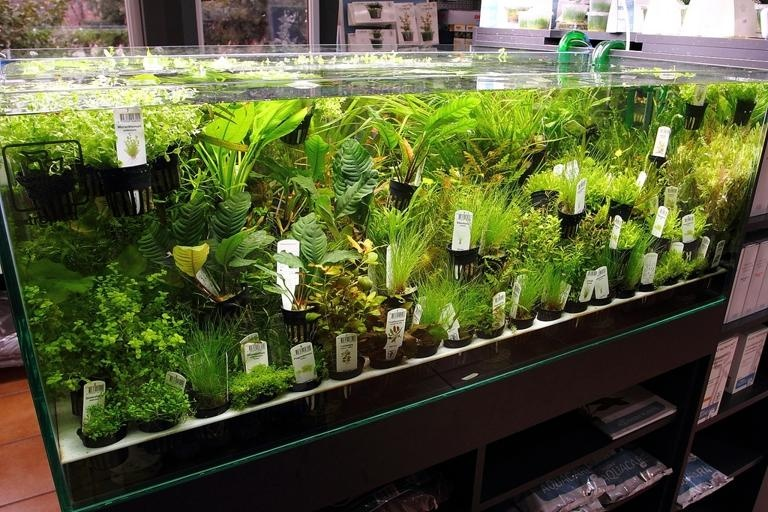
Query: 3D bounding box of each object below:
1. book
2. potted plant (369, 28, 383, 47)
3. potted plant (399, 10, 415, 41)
[{"bbox_3d":[0.928,0.574,1.937,0.274,0.031,0.296,-24,5,-10],"label":"book"},{"bbox_3d":[-0.043,-1.363,3.191,0.077,0.107,0.203,-2,22,0],"label":"potted plant"},{"bbox_3d":[0.151,-1.495,3.301,0.093,0.187,0.042,-13,25,-25],"label":"potted plant"}]
